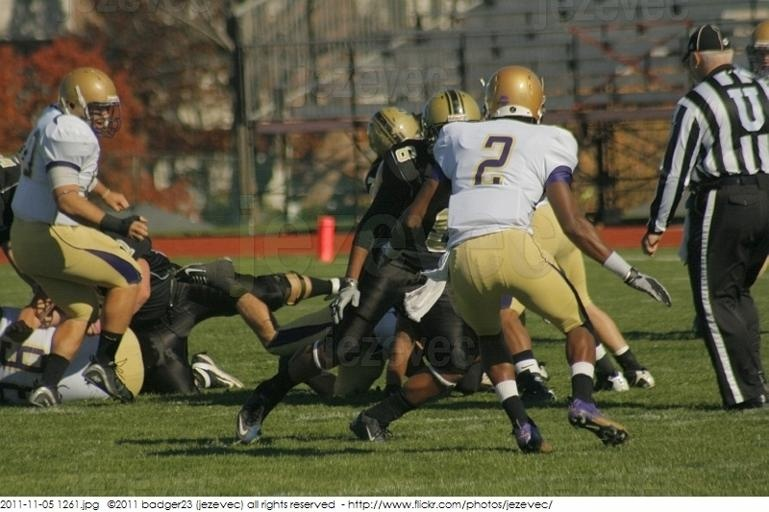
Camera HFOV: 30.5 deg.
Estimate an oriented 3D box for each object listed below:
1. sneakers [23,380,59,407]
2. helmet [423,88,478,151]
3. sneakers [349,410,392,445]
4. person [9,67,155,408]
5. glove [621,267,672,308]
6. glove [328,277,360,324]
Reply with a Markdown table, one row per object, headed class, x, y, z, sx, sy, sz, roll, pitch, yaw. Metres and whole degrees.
| class | x | y | z | sx | sy | sz | roll | pitch | yaw |
| --- | --- | --- | --- | --- | --- | --- | --- | --- | --- |
| sneakers | -3.257 | 1.351 | 13.435 | 0.286 | 0.198 | 0.171 | 1 | 5 | -33 |
| helmet | 0.640 | -1.317 | 13.343 | 0.481 | 0.596 | 0.582 | 1 | 0 | -16 |
| sneakers | -0.135 | 1.575 | 12.625 | 0.487 | 0.227 | 0.164 | 27 | -10 | -1 |
| person | -2.948 | -0.192 | 13.541 | 1.208 | 3.123 | 1.009 | -5 | 14 | -11 |
| glove | 2.811 | 0.364 | 15.171 | 0.544 | 0.184 | 0.176 | 38 | 30 | -5 |
| glove | -0.353 | 0.393 | 12.667 | 0.272 | 0.385 | 0.116 | 13 | -8 | 40 |
